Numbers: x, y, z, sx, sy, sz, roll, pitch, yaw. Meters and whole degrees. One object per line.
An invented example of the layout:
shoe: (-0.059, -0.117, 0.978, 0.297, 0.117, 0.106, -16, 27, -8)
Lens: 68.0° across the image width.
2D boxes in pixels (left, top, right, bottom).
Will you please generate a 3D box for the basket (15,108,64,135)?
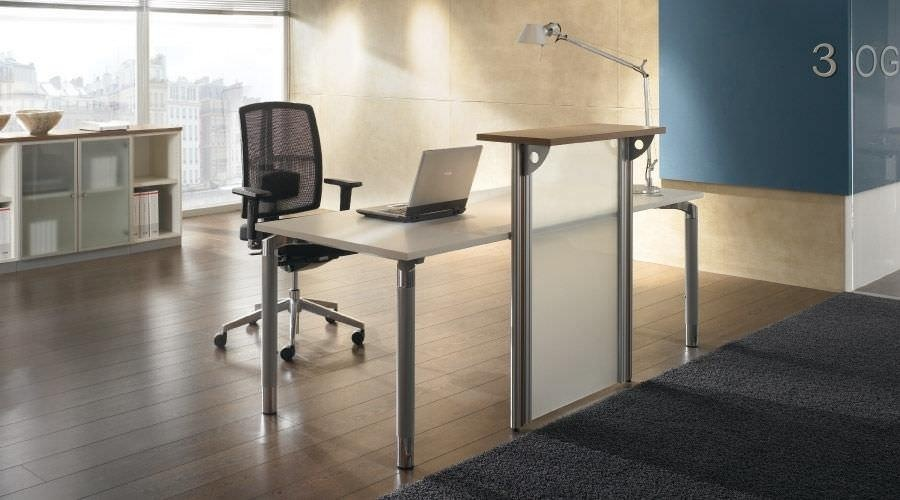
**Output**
basket: (-4.238, -1.323, 6.879, 0.412, 0.122, 0.362, -2, 6, -16)

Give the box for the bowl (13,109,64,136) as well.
bowl: (-4.243, -1.312, 6.923, 0.447, 0.121, 0.361, -1, 6, -10)
